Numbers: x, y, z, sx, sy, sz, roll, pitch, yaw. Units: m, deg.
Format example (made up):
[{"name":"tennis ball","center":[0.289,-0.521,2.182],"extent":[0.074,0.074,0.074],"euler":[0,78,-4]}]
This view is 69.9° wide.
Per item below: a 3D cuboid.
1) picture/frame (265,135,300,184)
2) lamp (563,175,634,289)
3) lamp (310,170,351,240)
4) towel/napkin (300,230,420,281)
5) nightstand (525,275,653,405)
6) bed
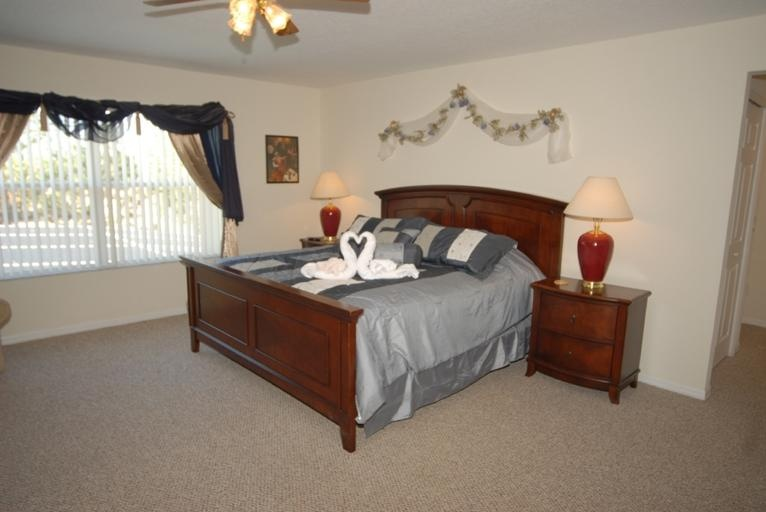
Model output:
[{"name":"picture/frame","center":[-1.331,-1.262,7.105],"extent":[0.615,0.735,0.052],"euler":[-7,7,-43]},{"name":"lamp","center":[1.964,-0.204,4.980],"extent":[0.538,1.004,0.378],"euler":[-8,16,-25]},{"name":"lamp","center":[-0.691,-0.622,7.046],"extent":[0.542,0.871,0.538],"euler":[0,5,3]},{"name":"towel/napkin","center":[-0.223,0.045,5.090],"extent":[0.795,0.342,0.556],"euler":[0,6,-5]},{"name":"nightstand","center":[1.908,0.754,5.145],"extent":[0.881,0.917,0.597],"euler":[10,15,42]},{"name":"bed","center":[-0.104,0.302,5.492],"extent":[2.906,1.814,2.457],"euler":[-12,17,-39]}]
